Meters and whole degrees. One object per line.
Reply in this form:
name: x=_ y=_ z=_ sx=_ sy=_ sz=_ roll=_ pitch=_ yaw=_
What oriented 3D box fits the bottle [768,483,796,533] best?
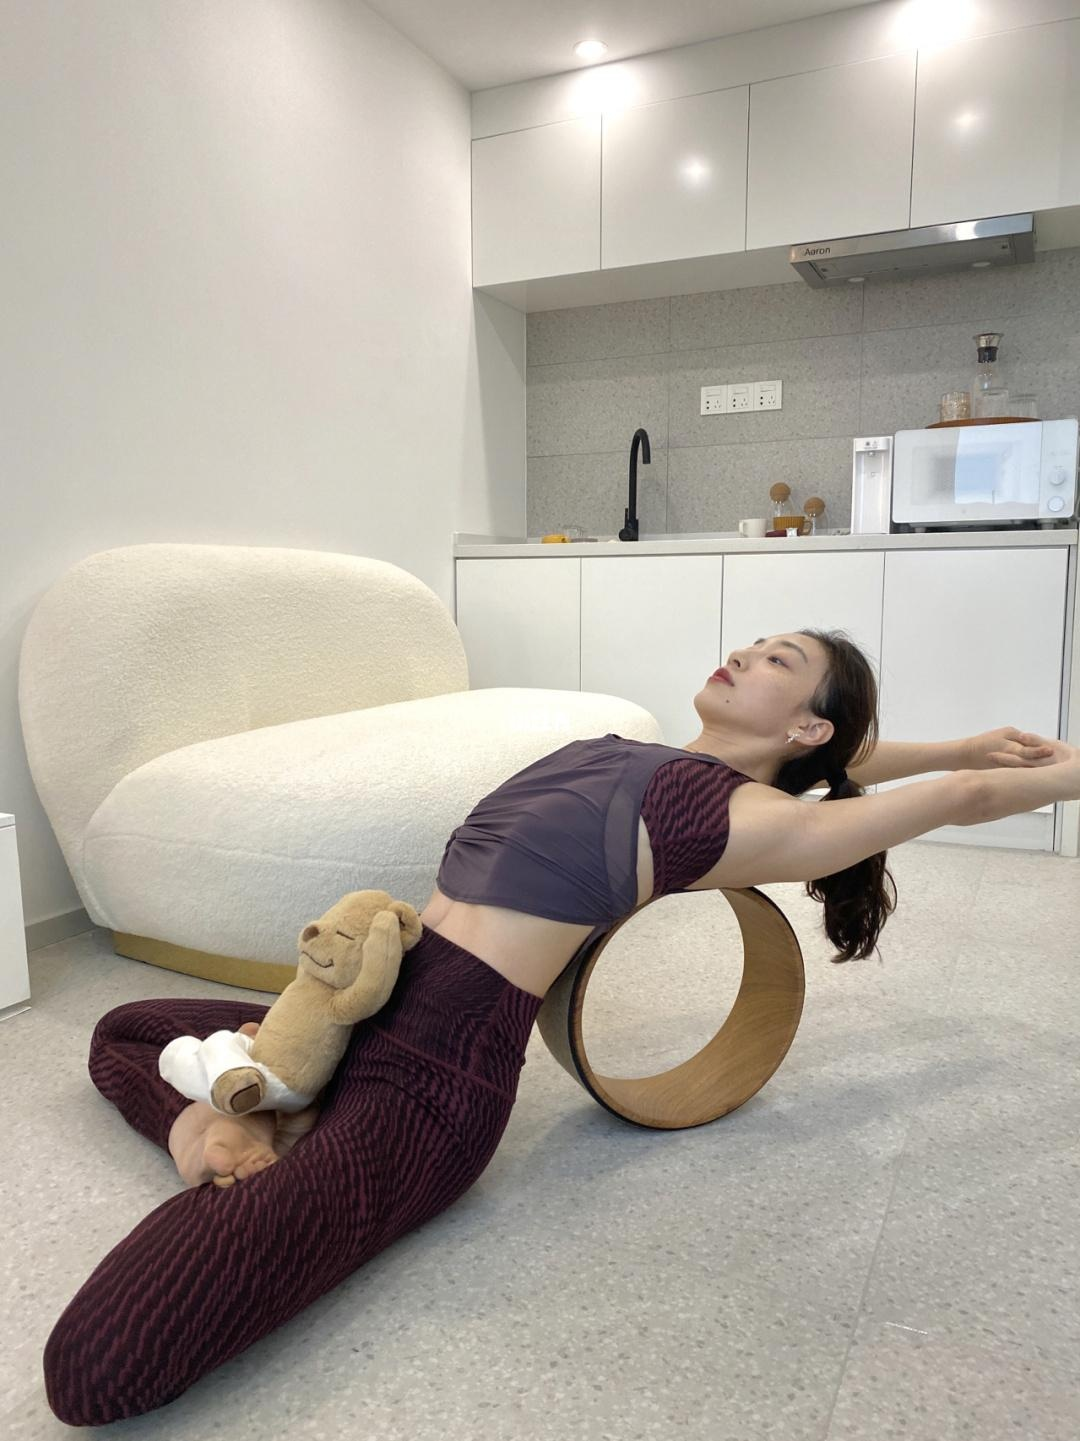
bottle: x=0.818 y=-0.705 z=3.747 sx=0.097 sy=0.185 sz=0.268 roll=1 pitch=7 yaw=11

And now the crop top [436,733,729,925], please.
crop top: x=0.056 y=0.086 z=1.341 sx=0.286 sy=0.213 sz=0.312 roll=9 pitch=7 yaw=42

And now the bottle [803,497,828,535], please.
bottle: x=0.909 y=-0.675 z=3.712 sx=0.070 sy=0.125 sz=0.194 roll=1 pitch=7 yaw=13

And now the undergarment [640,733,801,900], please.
undergarment: x=0.211 y=0.106 z=1.301 sx=0.087 sy=0.145 sz=0.114 roll=-3 pitch=12 yaw=-36

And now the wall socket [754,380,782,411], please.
wall socket: x=0.786 y=-1.112 z=3.837 sx=0.119 sy=0.127 sz=0.017 roll=1 pitch=4 yaw=34

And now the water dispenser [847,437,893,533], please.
water dispenser: x=0.966 y=-0.680 z=3.273 sx=0.131 sy=0.277 sz=0.113 roll=3 pitch=8 yaw=28

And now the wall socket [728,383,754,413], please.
wall socket: x=0.701 y=-1.117 z=3.889 sx=0.113 sy=0.120 sz=0.014 roll=3 pitch=6 yaw=33

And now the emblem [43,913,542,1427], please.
emblem: x=-0.242 y=0.344 z=1.266 sx=0.805 sy=0.297 sz=0.380 roll=2 pitch=7 yaw=26

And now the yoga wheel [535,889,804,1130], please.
yoga wheel: x=0.180 y=0.371 z=1.450 sx=0.297 sy=0.278 sz=0.102 roll=-16 pitch=14 yaw=-13

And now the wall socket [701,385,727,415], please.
wall socket: x=0.617 y=-1.127 z=3.947 sx=0.122 sy=0.116 sz=0.013 roll=2 pitch=2 yaw=38

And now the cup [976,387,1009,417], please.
cup: x=1.364 y=-0.962 z=3.385 sx=0.097 sy=0.096 sz=0.159 roll=2 pitch=7 yaw=19
